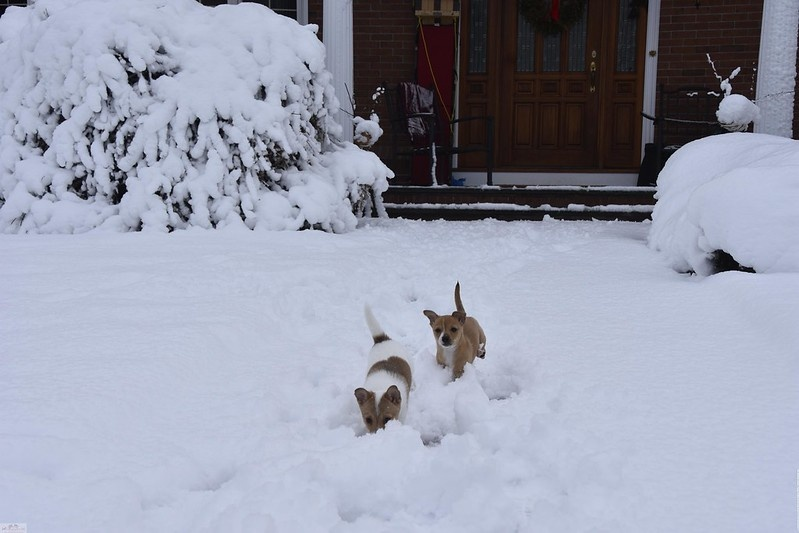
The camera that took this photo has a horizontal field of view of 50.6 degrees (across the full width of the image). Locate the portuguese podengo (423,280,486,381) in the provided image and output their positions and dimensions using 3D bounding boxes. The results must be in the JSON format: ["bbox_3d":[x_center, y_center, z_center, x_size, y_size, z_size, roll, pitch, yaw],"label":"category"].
[{"bbox_3d":[0.490,0.515,6.574,0.265,0.527,0.742,-22,9,23],"label":"portuguese podengo"}]

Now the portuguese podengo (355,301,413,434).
[{"bbox_3d":[-0.100,0.819,6.157,0.295,0.694,1.020,-12,42,11],"label":"portuguese podengo"}]
